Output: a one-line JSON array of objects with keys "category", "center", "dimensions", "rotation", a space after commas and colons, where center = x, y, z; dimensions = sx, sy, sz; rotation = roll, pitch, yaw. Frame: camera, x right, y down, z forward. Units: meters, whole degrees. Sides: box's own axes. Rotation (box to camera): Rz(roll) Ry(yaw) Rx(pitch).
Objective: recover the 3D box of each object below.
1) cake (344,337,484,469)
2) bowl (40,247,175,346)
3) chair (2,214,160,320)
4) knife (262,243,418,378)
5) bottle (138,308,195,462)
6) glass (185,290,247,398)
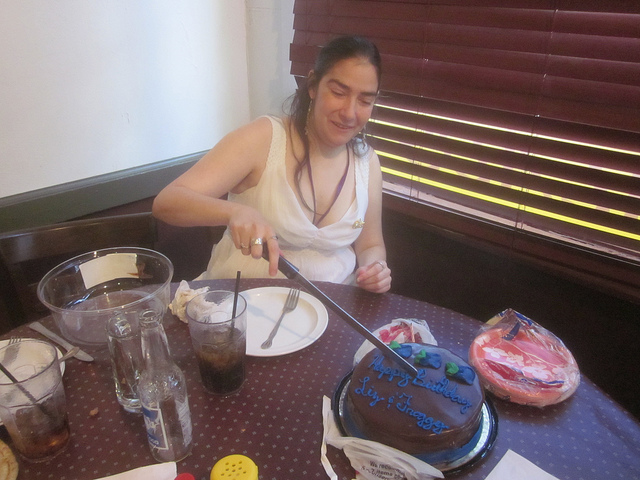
[{"category": "cake", "center": [0.215, 0.341, 1.130], "dimensions": [0.260, 0.074, 0.266], "rotation": [25, 42, 36]}, {"category": "bowl", "center": [-0.665, 0.172, 1.392], "dimensions": [0.311, 0.141, 0.349], "rotation": [3, 28, -6]}, {"category": "chair", "center": [-0.991, -0.047, 1.947], "dimensions": [0.424, 0.632, 0.515], "rotation": [-7, 11, -26]}, {"category": "knife", "center": [0.077, 0.218, 1.335], "dimensions": [0.500, 0.192, 0.122], "rotation": [30, 44, 28]}, {"category": "bottle", "center": [-0.371, 0.330, 1.097], "dimensions": [0.108, 0.385, 0.112], "rotation": [-3, 16, 1]}, {"category": "glass", "center": [-0.272, 0.261, 1.243], "dimensions": [0.149, 0.227, 0.193], "rotation": [-11, 40, -18]}]
